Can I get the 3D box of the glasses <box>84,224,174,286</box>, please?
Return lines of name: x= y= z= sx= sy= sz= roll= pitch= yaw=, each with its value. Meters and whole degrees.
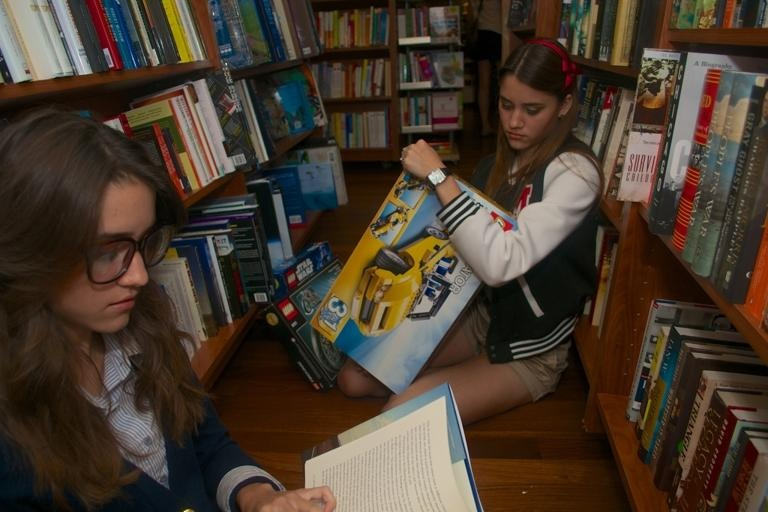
glasses: x=-0.587 y=-0.015 z=1.254 sx=0.093 sy=0.127 sz=0.237 roll=0 pitch=28 yaw=8
